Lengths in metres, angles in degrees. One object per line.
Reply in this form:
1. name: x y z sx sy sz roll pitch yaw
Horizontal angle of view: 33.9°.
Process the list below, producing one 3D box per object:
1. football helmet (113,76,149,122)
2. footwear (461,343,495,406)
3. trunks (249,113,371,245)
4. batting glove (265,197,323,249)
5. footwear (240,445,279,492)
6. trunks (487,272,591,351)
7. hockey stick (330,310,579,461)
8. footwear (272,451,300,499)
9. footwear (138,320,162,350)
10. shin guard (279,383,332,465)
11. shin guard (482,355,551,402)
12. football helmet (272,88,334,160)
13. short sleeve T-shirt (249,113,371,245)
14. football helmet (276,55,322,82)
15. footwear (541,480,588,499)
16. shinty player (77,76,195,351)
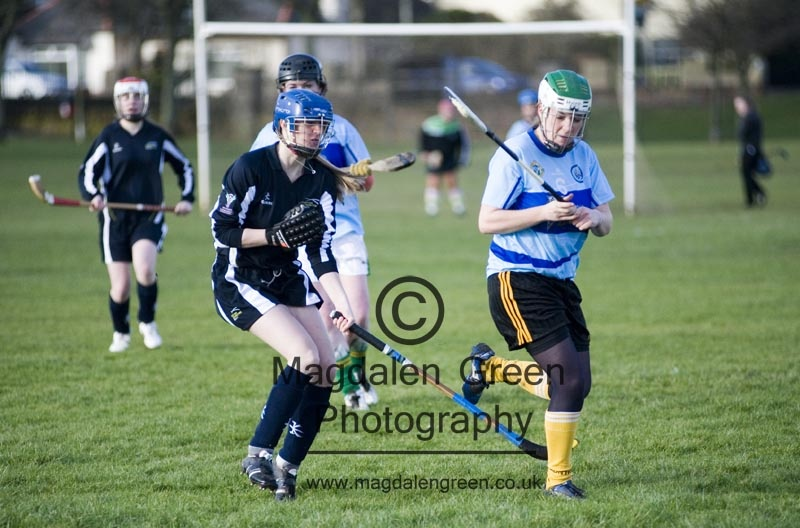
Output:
1. football helmet: -3.180 -1.994 15.782 0.371 0.498 0.496 -1 7 -6
2. footwear: 0.801 1.122 13.987 0.229 0.744 0.311 17 16 27
3. trunks: -0.711 -1.062 14.710 1.668 1.979 1.216 -1 7 -2
4. batting glove: -1.020 -0.364 13.109 0.576 0.366 0.231 -29 1 6
5. footwear: -1.405 2.071 13.227 0.213 0.257 0.538 1 9 -42
6. trunks: 1.292 0.482 13.797 0.690 0.933 1.184 -8 0 19
7. hockey stick: 0.576 1.366 14.071 2.432 0.313 0.127 33 46 -6
8. footwear: -1.140 2.142 13.196 0.162 0.219 0.497 2 49 -13
9. footwear: -2.990 0.867 15.765 0.220 0.343 0.146 -14 -9 5
10. shin guard: -0.939 1.610 13.349 0.318 1.020 0.331 20 1 41
11. shin guard: 1.199 1.146 13.852 0.905 0.314 0.280 16 21 29
12. football helmet: -0.972 -1.416 13.246 0.600 0.672 0.290 0 7 -6
13. short sleeve T-shirt: -0.716 -1.124 14.629 1.668 1.979 1.216 -1 7 -2
14. football helmet: -1.091 -2.108 14.315 0.301 0.387 0.279 -1 3 -2
15. footwear: 1.661 2.251 13.141 0.317 0.153 0.158 1 2 11
16. shinty player: -3.155 -0.591 15.748 1.308 3.244 0.687 -3 8 -23
